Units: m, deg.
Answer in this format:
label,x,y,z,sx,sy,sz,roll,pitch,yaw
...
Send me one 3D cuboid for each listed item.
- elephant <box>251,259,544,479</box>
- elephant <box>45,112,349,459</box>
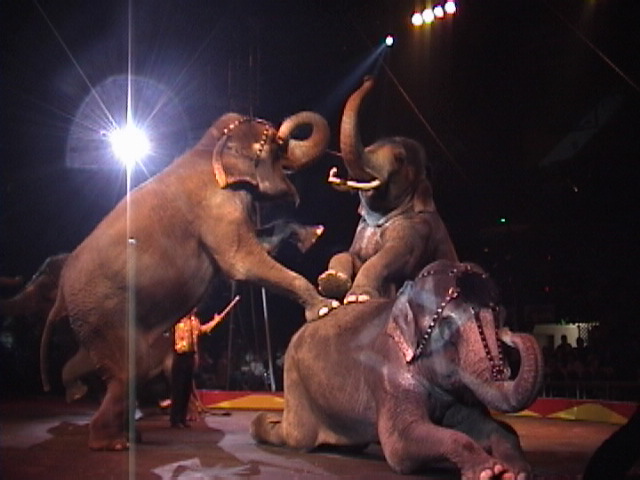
label,x,y,z,sx,sy,sz,roll,pitch,yaw
elephant,0.393,0.615,3.281,0.544,0.968,1.464,9,-17,-39
elephant,-0.566,0.156,3.721,1.672,1.609,0.578,-19,1,-23
